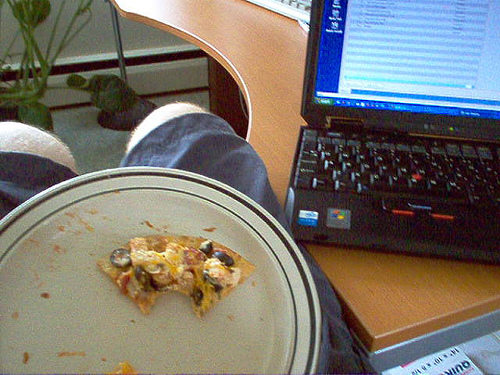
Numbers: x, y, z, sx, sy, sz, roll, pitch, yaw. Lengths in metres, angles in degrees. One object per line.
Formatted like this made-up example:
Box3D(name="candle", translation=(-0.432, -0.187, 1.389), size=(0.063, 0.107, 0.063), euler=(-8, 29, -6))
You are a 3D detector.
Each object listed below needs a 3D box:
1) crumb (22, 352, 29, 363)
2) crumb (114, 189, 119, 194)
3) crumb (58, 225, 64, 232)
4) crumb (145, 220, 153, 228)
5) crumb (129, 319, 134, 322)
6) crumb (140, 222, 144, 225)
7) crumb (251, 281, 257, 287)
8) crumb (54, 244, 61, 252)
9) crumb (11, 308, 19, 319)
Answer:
Box3D(name="crumb", translation=(-0.189, 0.144, 0.342), size=(0.004, 0.002, 0.007), euler=(12, 85, -9))
Box3D(name="crumb", translation=(-0.135, 0.004, 0.409), size=(0.004, 0.001, 0.004), euler=(-9, 87, -23))
Box3D(name="crumb", translation=(-0.179, 0.039, 0.384), size=(0.004, 0.001, 0.005), euler=(1, 84, -11))
Box3D(name="crumb", translation=(-0.103, 0.037, 0.413), size=(0.012, 0.003, 0.003), euler=(55, 32, 6))
Box3D(name="crumb", translation=(-0.107, 0.120, 0.365), size=(0.004, 0.001, 0.002), euler=(2, 49, -11))
Box3D(name="crumb", translation=(-0.109, 0.037, 0.410), size=(0.003, 0.001, 0.003), euler=(-1, 86, -6))
Box3D(name="crumb", translation=(0.004, 0.093, 0.389), size=(0.003, 0.001, 0.005), euler=(16, 62, 4))
Box3D(name="crumb", translation=(-0.180, 0.057, 0.377), size=(0.006, 0.002, 0.005), euler=(32, 51, 15))
Box3D(name="crumb", translation=(-0.202, 0.110, 0.349), size=(0.006, 0.003, 0.007), euler=(-20, 56, -26))
